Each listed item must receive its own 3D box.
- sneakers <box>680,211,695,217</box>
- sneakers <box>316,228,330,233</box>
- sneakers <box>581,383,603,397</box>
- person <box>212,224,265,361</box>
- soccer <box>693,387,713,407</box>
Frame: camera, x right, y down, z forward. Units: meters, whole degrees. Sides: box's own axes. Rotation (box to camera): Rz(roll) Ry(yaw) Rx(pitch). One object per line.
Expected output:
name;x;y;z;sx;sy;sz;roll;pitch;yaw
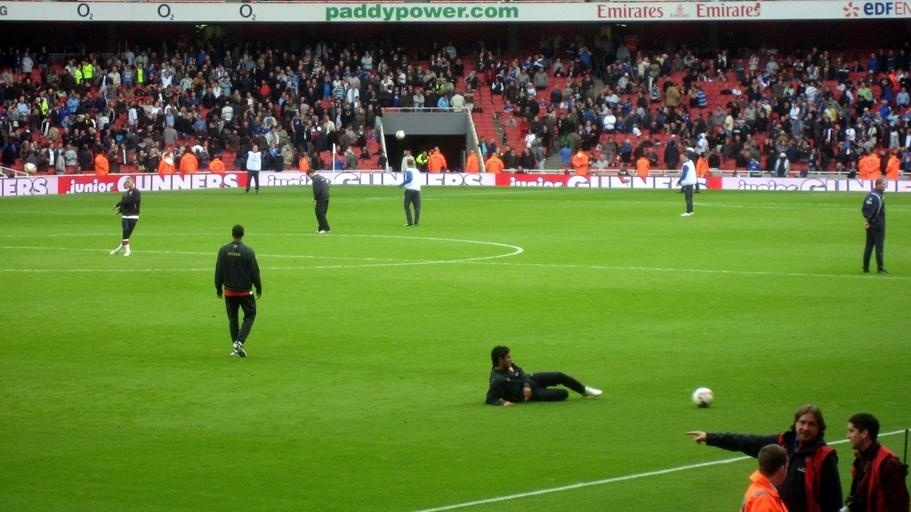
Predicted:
sneakers;10.658;-1.906;68.150;0.739;0.246;0.231;1;1;-23
sneakers;-5.657;-1.023;62.123;0.210;0.153;0.509;-8;5;-39
sneakers;3.969;3.995;43.240;0.650;0.265;0.239;2;13;5
person;-6.733;1.121;45.402;1.327;4.023;0.747;-2;7;-2
soccer;7.121;4.143;42.828;0.600;0.511;0.559;-4;-2;-13
